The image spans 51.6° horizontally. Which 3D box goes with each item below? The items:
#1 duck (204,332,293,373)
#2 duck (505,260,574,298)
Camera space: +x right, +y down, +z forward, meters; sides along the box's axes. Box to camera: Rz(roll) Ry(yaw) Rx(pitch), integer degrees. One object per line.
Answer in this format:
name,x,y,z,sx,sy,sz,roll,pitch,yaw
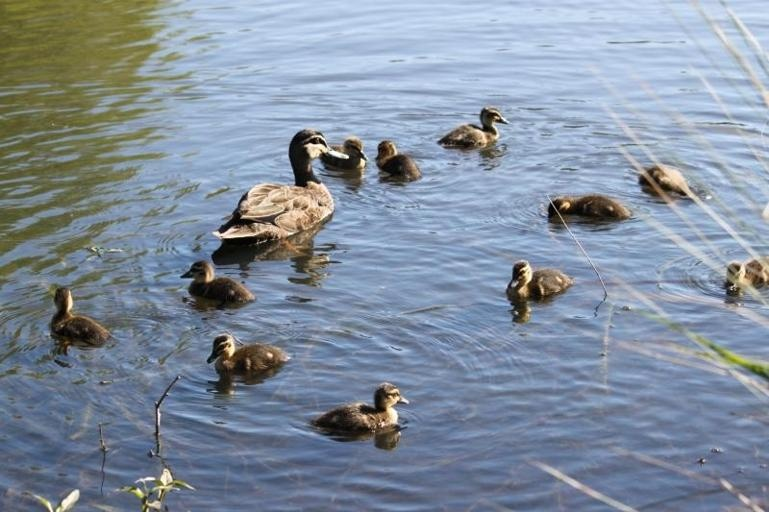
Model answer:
duck,-1.828,1.275,10.342,1.167,0.363,0.516,-1,4,-14
duck,2.296,0.330,11.776,0.723,0.660,0.888,20,52,24
